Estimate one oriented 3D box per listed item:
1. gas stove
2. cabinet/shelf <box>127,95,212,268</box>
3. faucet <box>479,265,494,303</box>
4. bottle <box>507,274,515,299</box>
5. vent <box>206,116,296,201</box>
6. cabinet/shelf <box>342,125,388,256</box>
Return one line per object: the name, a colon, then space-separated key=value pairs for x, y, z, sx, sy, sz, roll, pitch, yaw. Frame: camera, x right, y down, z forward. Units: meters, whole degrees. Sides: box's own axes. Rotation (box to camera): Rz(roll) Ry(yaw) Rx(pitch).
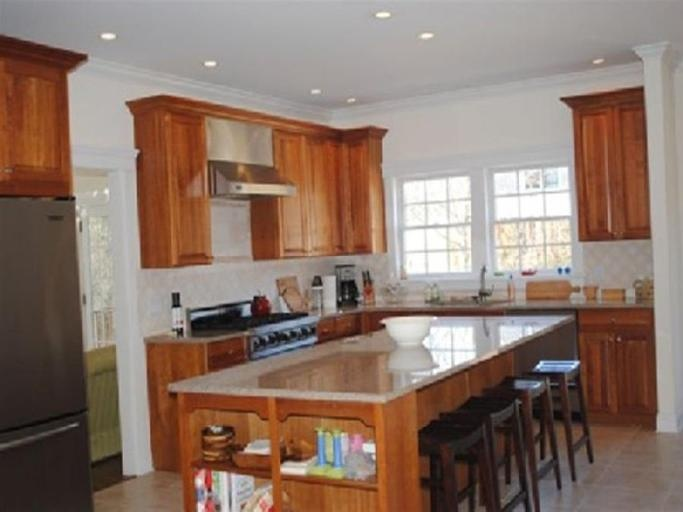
gas stove: x=-0.828 y=0.743 z=5.927 sx=0.927 sy=0.475 sz=0.919 roll=-4 pitch=2 yaw=44
cabinet/shelf: x=-1.547 y=-0.651 z=5.397 sx=0.668 sy=1.520 sz=0.495 roll=-3 pitch=10 yaw=-19
faucet: x=1.625 y=0.313 z=6.721 sx=0.158 sy=0.369 sz=0.349 roll=3 pitch=9 yaw=14
bottle: x=1.888 y=0.345 z=6.651 sx=0.084 sy=0.269 sz=0.222 roll=3 pitch=9 yaw=14
vent: x=-0.876 y=-0.941 z=5.949 sx=0.399 sy=0.683 sz=1.033 roll=5 pitch=6 yaw=28
cabinet/shelf: x=0.285 y=-0.782 z=7.215 sx=0.561 sy=1.497 sz=0.385 roll=0 pitch=9 yaw=-4
